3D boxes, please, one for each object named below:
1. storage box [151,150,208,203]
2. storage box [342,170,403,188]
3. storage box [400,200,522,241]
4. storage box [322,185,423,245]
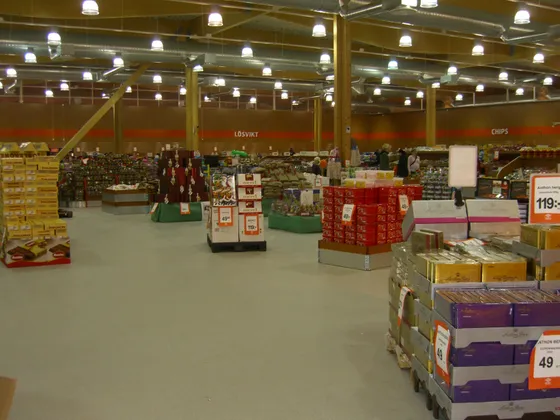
[{"bbox_3d":[-2.885,-0.976,12.374,1.482,1.551,0.406,-2,8,-12],"label":"storage box"},{"bbox_3d":[1.527,-0.515,7.084,1.013,0.266,0.484,-6,9,-38],"label":"storage box"},{"bbox_3d":[1.773,0.073,4.191,1.080,0.326,0.309,-1,11,-9],"label":"storage box"},{"bbox_3d":[1.519,0.031,7.174,1.884,1.054,1.001,-4,5,-41],"label":"storage box"}]
